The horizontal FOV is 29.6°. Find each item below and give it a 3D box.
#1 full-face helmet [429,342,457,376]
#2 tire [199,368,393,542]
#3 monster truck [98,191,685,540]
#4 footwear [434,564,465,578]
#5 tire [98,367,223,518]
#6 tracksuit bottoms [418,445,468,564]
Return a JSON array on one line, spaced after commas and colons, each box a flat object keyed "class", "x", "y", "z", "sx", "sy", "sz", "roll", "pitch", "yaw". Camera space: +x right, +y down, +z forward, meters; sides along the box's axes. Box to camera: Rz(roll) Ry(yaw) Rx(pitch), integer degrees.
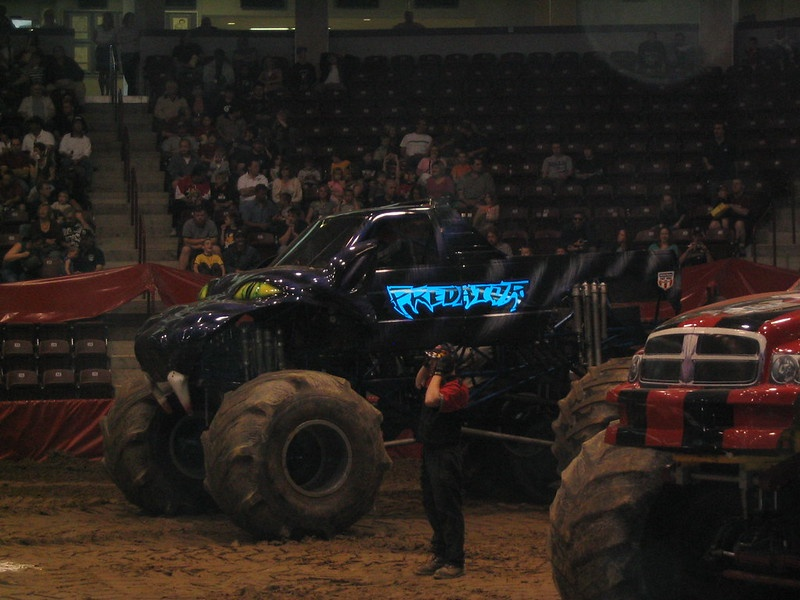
[{"class": "full-face helmet", "x": 0.562, "y": 0.804, "z": 18.871, "sx": 0.342, "sy": 0.392, "sz": 0.363, "roll": -12, "pitch": 50, "yaw": 5}, {"class": "tire", "x": -1.466, "y": 2.182, "z": 20.178, "sx": 1.635, "sy": 2.183, "sz": 2.688, "roll": -5, "pitch": -4, "yaw": 43}, {"class": "monster truck", "x": 0.269, "y": 0.658, "z": 22.036, "sx": 8.058, "sy": 3.393, "sz": 4.989, "roll": -7, "pitch": 6, "yaw": -34}, {"class": "footwear", "x": 0.631, "y": 3.415, "z": 18.697, "sx": 0.384, "sy": 0.131, "sz": 0.148, "roll": 4, "pitch": -2, "yaw": -6}, {"class": "tire", "x": -3.340, "y": 2.035, "z": 20.894, "sx": 2.115, "sy": 1.791, "sz": 0.781, "roll": 25, "pitch": -20, "yaw": -35}, {"class": "tracksuit bottoms", "x": 0.566, "y": 2.620, "z": 18.810, "sx": 0.544, "sy": 1.517, "sz": 0.648, "roll": 0, "pitch": 13, "yaw": 0}]
